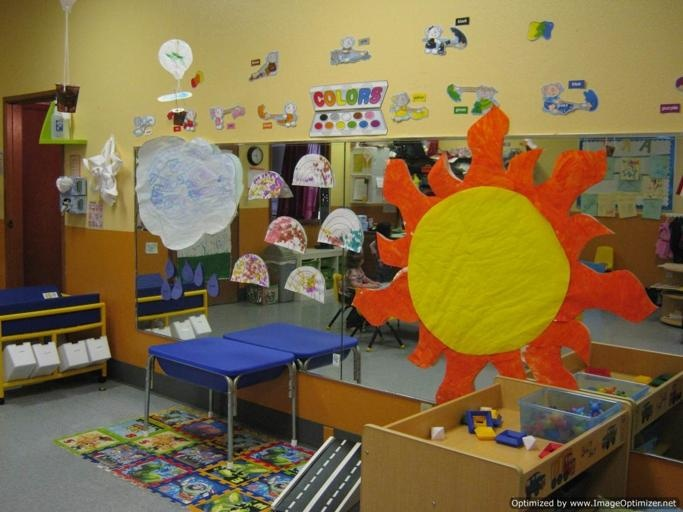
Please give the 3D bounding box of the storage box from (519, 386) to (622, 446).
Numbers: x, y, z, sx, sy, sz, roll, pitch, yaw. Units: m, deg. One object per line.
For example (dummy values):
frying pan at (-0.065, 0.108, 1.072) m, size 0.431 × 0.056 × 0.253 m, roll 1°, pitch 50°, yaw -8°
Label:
storage box at (1.060, 0.743, 2.814) m, size 0.318 × 0.103 × 0.239 m, roll -4°, pitch 6°, yaw -43°

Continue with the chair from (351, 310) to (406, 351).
chair at (0.222, 0.462, 3.827) m, size 0.279 × 0.349 × 0.272 m, roll -4°, pitch 5°, yaw -14°

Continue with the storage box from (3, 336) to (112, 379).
storage box at (-2.525, 0.883, 5.225) m, size 0.460 × 0.153 × 0.437 m, roll -3°, pitch 8°, yaw -41°

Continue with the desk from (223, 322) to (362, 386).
desk at (-0.262, 0.626, 4.228) m, size 0.636 × 0.280 × 0.411 m, roll 7°, pitch 9°, yaw 43°

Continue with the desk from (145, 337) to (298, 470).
desk at (-0.912, 1.023, 4.421) m, size 1.030 × 0.667 × 0.644 m, roll 5°, pitch 6°, yaw 40°

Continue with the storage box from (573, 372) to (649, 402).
storage box at (1.391, 0.676, 3.109) m, size 0.200 × 0.064 × 0.138 m, roll 7°, pitch 8°, yaw 44°
